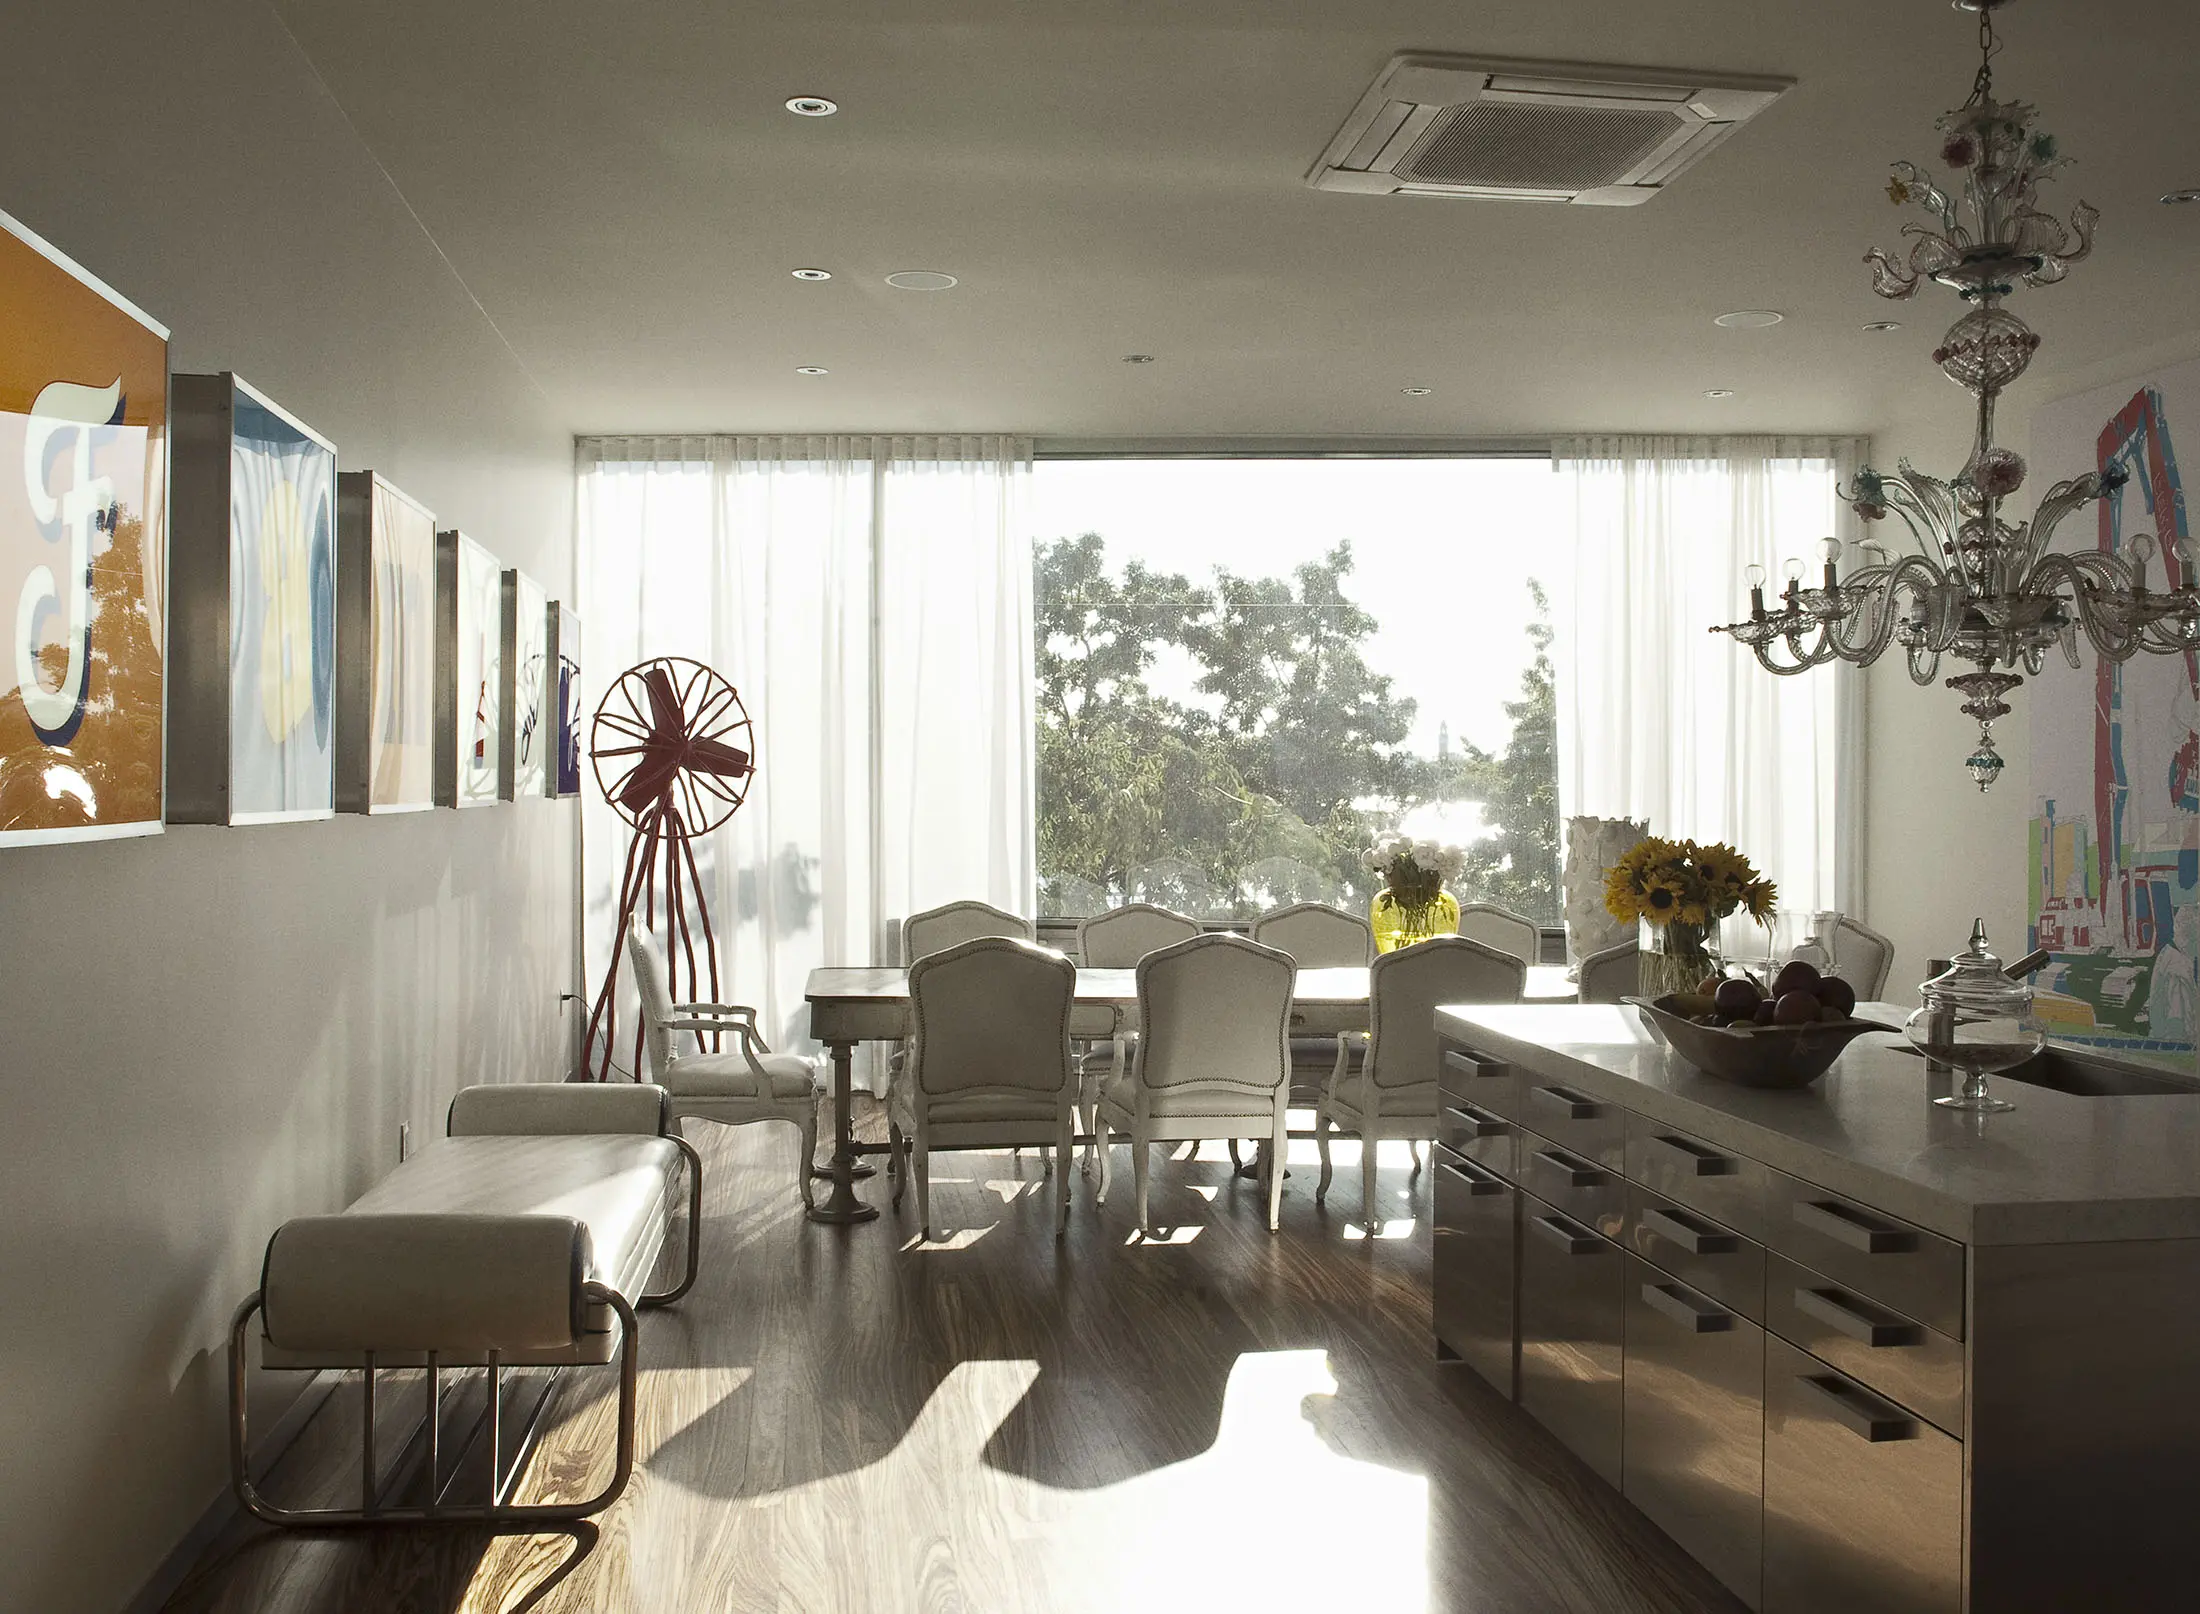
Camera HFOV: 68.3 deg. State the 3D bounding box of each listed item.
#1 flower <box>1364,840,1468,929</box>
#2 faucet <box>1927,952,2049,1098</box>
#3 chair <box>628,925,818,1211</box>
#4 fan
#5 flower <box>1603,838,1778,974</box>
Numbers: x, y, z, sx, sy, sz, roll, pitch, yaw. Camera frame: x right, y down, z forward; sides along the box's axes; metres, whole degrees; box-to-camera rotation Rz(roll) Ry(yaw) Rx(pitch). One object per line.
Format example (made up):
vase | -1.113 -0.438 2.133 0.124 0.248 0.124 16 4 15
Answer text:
flower | 1.272 0.299 6.567 0.315 0.432 0.362 -1 0 12
faucet | 1.891 0.471 3.481 0.209 0.329 0.339 1 1 33
chair | -1.602 1.026 6.711 0.928 1.465 0.955 0 -1 -5
fan | -2.118 0.343 7.950 0.762 2.294 0.659 3 37 -10
flower | 1.470 0.238 4.072 0.314 0.370 0.336 -10 22 0
